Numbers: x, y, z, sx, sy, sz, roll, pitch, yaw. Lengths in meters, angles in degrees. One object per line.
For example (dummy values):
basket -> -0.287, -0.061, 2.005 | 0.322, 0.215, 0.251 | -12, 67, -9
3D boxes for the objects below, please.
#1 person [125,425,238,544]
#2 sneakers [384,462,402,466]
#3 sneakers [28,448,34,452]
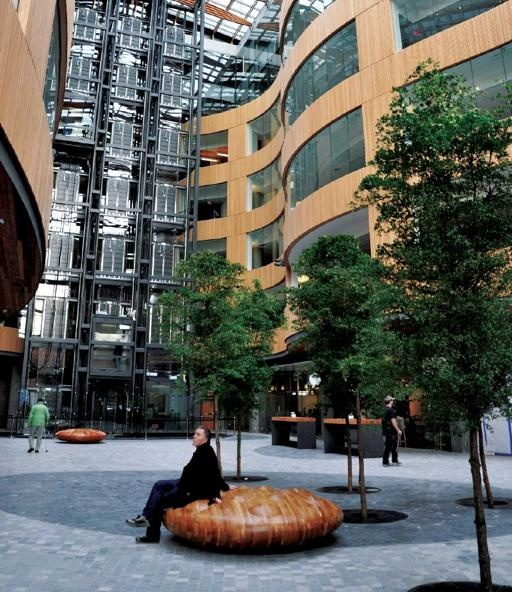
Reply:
person -> -0.623, 2.310, 6.031 | 1.591, 1.523, 1.037 | 2, -20, 4
sneakers -> 3.970, 4.932, 14.553 | 0.449, 0.164, 0.127 | -6, -10, 16
sneakers -> -7.691, 5.295, 17.069 | 0.178, 0.148, 0.350 | 3, -12, -25
